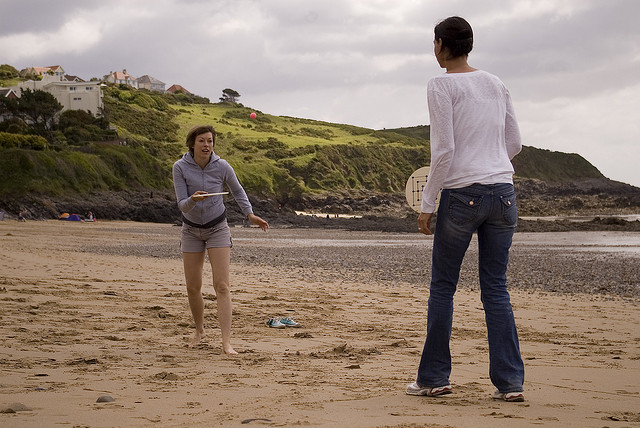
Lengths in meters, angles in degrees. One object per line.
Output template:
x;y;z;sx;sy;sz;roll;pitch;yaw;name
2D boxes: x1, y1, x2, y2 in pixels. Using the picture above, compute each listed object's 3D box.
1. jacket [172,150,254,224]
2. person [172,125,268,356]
-1.494;-0.382;10.167;1.112;1.076;0.854;-4;5;-25;jacket
-1.513;0.277;10.100;1.029;3.031;1.581;0;6;-12;person
